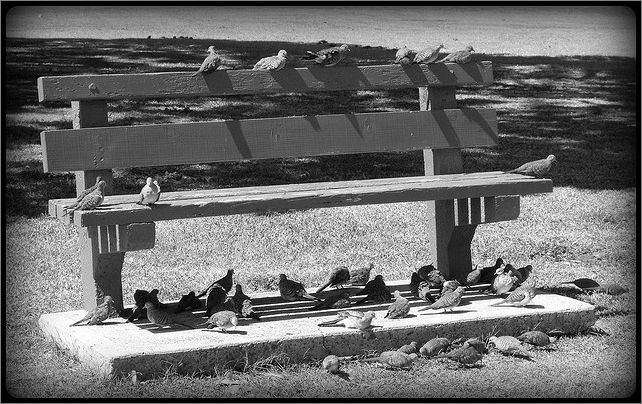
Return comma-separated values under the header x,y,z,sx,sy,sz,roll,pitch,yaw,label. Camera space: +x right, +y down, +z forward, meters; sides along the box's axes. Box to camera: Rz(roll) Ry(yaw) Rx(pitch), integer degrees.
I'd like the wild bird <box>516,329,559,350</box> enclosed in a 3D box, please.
x,y,z,sx,sy,sz,roll,pitch,yaw,label
3.314,2.117,17.258,0.563,0.229,0.264,18,12,-4,wild bird

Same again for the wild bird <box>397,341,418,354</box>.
x,y,z,sx,sy,sz,roll,pitch,yaw,label
1.327,2.230,17.039,0.368,0.152,0.119,-5,11,-42,wild bird

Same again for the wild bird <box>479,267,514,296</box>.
x,y,z,sx,sy,sz,roll,pitch,yaw,label
2.885,1.328,18.162,0.343,0.490,0.565,-16,16,-42,wild bird

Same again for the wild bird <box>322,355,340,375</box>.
x,y,z,sx,sy,sz,roll,pitch,yaw,label
0.143,2.471,16.779,0.266,0.262,0.174,-3,6,0,wild bird

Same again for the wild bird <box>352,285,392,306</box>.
x,y,z,sx,sy,sz,roll,pitch,yaw,label
0.861,1.527,18.015,0.469,0.275,0.280,-2,9,-1,wild bird

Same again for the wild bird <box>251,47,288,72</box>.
x,y,z,sx,sy,sz,roll,pitch,yaw,label
-0.786,-2.343,18.555,0.645,0.402,0.268,-1,9,18,wild bird

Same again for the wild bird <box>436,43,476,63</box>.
x,y,z,sx,sy,sz,roll,pitch,yaw,label
2.359,-2.525,19.041,0.746,0.327,0.254,-6,22,-17,wild bird

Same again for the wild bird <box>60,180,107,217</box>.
x,y,z,sx,sy,sz,roll,pitch,yaw,label
-3.621,-0.010,17.077,0.879,0.623,0.403,-6,11,-40,wild bird

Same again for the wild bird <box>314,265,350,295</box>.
x,y,z,sx,sy,sz,roll,pitch,yaw,label
0.220,1.295,18.513,0.685,0.389,0.250,-16,4,11,wild bird

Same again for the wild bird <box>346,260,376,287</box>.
x,y,z,sx,sy,sz,roll,pitch,yaw,label
0.681,1.220,18.597,0.504,0.330,0.235,0,9,-14,wild bird

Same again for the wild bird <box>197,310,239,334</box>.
x,y,z,sx,sy,sz,roll,pitch,yaw,label
-1.569,1.821,17.128,0.519,0.288,0.247,19,0,4,wild bird

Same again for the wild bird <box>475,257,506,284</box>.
x,y,z,sx,sy,sz,roll,pitch,yaw,label
2.855,1.155,18.648,0.589,0.485,0.237,-8,16,-28,wild bird

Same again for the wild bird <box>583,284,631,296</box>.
x,y,z,sx,sy,sz,roll,pitch,yaw,label
4.835,1.472,19.063,0.831,0.255,0.251,1,0,7,wild bird

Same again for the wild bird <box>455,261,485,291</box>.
x,y,z,sx,sy,sz,roll,pitch,yaw,label
2.490,1.279,18.584,0.460,0.351,0.242,-5,-13,36,wild bird

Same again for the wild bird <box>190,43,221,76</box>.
x,y,z,sx,sy,sz,roll,pitch,yaw,label
-1.877,-2.275,18.080,0.270,0.403,0.657,10,29,28,wild bird

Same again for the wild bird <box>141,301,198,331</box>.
x,y,z,sx,sy,sz,roll,pitch,yaw,label
-2.337,1.777,17.259,0.793,0.458,0.227,2,19,-3,wild bird

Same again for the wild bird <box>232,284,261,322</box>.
x,y,z,sx,sy,sz,roll,pitch,yaw,label
-1.215,1.636,17.713,0.264,0.397,0.727,-10,29,-27,wild bird

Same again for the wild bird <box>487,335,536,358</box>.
x,y,z,sx,sy,sz,roll,pitch,yaw,label
2.910,2.224,17.216,0.624,0.253,0.293,3,2,23,wild bird

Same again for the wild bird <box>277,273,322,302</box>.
x,y,z,sx,sy,sz,roll,pitch,yaw,label
-0.416,1.457,18.070,0.990,0.564,0.327,3,1,43,wild bird

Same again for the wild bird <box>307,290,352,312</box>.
x,y,z,sx,sy,sz,roll,pitch,yaw,label
0.106,1.595,17.821,0.759,0.320,0.256,0,5,0,wild bird

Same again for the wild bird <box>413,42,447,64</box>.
x,y,z,sx,sy,sz,roll,pitch,yaw,label
1.801,-2.497,18.859,0.516,0.318,0.235,-3,11,-22,wild bird

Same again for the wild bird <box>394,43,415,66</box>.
x,y,z,sx,sy,sz,roll,pitch,yaw,label
1.453,-2.500,18.959,0.231,0.182,0.563,-32,1,25,wild bird

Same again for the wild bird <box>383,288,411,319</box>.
x,y,z,sx,sy,sz,roll,pitch,yaw,label
1.154,1.644,17.454,0.332,0.456,0.601,-10,4,31,wild bird

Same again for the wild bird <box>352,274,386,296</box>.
x,y,z,sx,sy,sz,roll,pitch,yaw,label
0.827,1.386,18.257,0.565,0.345,0.238,-12,15,-21,wild bird

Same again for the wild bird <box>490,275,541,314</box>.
x,y,z,sx,sy,sz,roll,pitch,yaw,label
3.051,1.503,17.689,0.651,0.353,0.277,-2,6,7,wild bird

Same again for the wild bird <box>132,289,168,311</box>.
x,y,z,sx,sy,sz,roll,pitch,yaw,label
-2.715,1.508,17.601,0.365,0.156,0.369,16,13,12,wild bird

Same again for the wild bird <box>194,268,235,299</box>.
x,y,z,sx,sy,sz,roll,pitch,yaw,label
-1.659,1.341,18.332,0.276,0.529,0.867,8,11,34,wild bird

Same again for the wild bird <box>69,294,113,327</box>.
x,y,z,sx,sy,sz,roll,pitch,yaw,label
-3.499,1.755,17.189,0.879,0.607,0.404,3,-3,2,wild bird

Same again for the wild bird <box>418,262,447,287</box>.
x,y,z,sx,sy,sz,roll,pitch,yaw,label
1.800,1.166,18.380,0.321,0.178,0.413,21,8,-23,wild bird

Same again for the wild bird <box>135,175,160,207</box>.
x,y,z,sx,sy,sz,roll,pitch,yaw,label
-2.661,-0.164,17.151,0.340,0.420,0.524,-4,6,-9,wild bird

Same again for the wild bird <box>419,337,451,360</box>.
x,y,z,sx,sy,sz,roll,pitch,yaw,label
1.718,2.227,17.114,0.477,0.276,0.217,-38,7,-13,wild bird
